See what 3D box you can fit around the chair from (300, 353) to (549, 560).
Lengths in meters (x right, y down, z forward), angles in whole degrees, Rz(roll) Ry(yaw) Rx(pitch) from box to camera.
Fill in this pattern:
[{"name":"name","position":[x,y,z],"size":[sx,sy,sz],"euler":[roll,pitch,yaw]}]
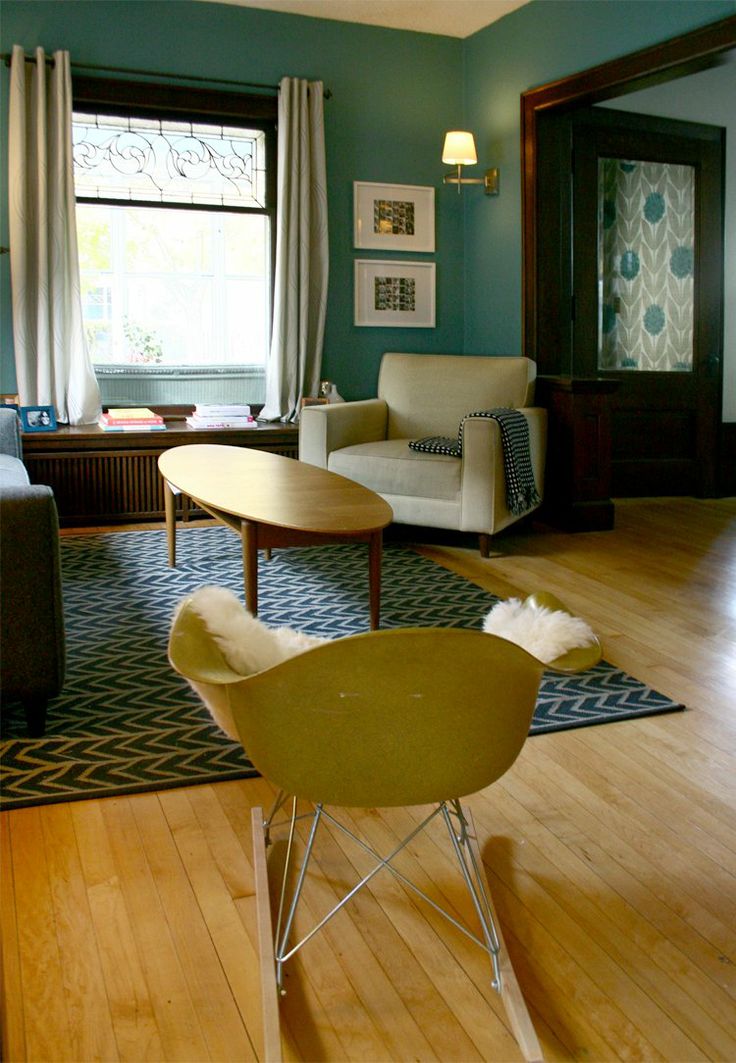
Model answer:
[{"name":"chair","position":[0.239,-0.197,4.107],"size":[1.302,1.319,0.981],"euler":[6,9,34]}]

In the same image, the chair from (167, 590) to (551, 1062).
[{"name":"chair","position":[0.000,0.238,1.008],"size":[0.406,0.467,0.516],"euler":[-2,22,-8]}]
